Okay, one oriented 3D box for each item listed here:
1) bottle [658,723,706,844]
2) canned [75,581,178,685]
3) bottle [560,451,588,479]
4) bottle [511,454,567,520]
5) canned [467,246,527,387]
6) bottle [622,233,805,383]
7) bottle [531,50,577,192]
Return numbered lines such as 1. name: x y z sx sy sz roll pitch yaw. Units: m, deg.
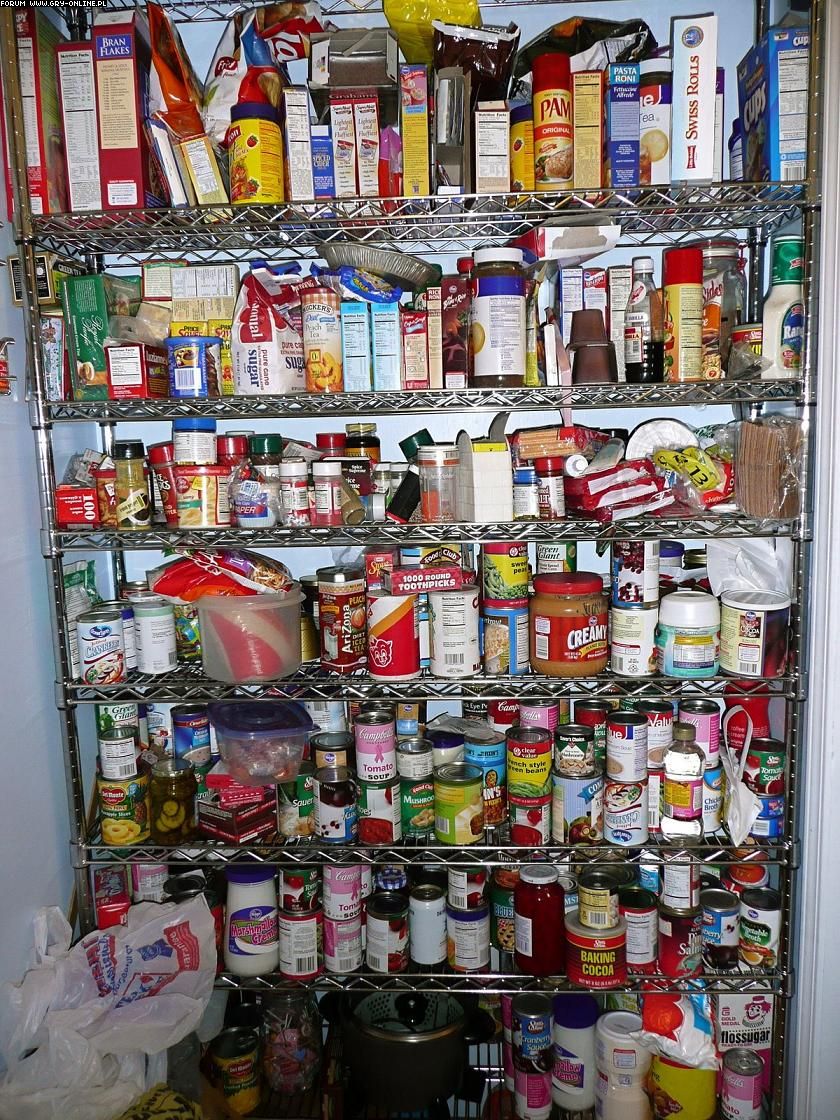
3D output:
1. bottle: 0.453 0.386 1.853 0.076 0.196 0.059 -2 8 11
2. canned: -0.520 0.128 1.951 0.219 0.144 0.113 -7 12 -31
3. bottle: 0.264 -0.160 1.820 0.049 0.041 0.041 0 9 25
4. bottle: 0.204 -0.118 1.762 0.105 0.104 0.104 -1 4 32
5. canned: 0.127 -0.398 1.762 0.089 0.223 0.052 -4 8 1
6. bottle: 0.493 -0.431 1.852 0.292 0.252 0.229 -4 8 -1
7. bottle: 0.218 -0.709 1.744 0.071 0.220 0.061 -3 8 7
